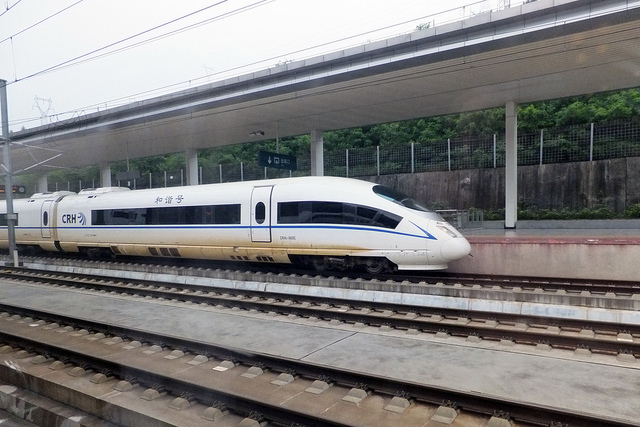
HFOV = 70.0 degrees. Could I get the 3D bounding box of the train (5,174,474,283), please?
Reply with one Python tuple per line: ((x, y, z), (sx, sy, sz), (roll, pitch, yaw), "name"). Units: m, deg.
((-3.501, 0.453, 15.792), (16.181, 3.065, 1.749), (-1, 4, 28), "train")
